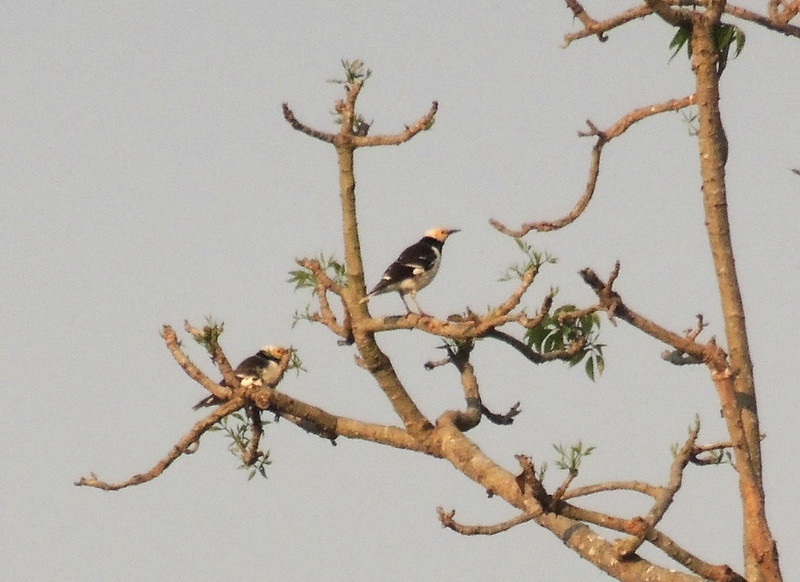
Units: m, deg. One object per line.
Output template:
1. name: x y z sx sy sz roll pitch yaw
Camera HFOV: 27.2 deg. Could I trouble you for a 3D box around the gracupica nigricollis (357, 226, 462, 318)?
1. gracupica nigricollis: 0.126 -0.232 17.504 1.092 0.452 0.830 -7 -82 -6
